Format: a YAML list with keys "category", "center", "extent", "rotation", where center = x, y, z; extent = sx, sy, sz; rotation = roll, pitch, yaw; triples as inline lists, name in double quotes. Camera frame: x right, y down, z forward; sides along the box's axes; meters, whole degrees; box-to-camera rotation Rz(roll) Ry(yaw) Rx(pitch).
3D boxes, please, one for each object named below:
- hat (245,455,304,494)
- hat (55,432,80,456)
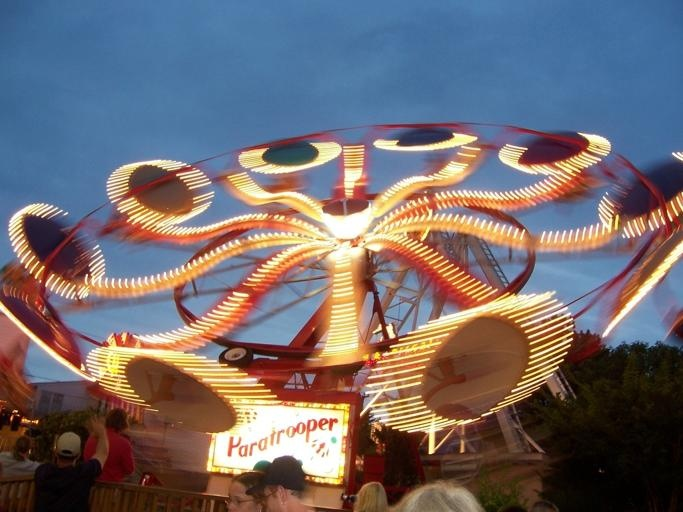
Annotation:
- category: "hat"
  center: [-1.125, 3.186, 9.536]
  extent: [0.829, 0.406, 0.531]
  rotation: [2, -22, 12]
- category: "hat"
  center: [-4.417, 2.972, 10.435]
  extent: [0.346, 0.470, 0.249]
  rotation: [12, -76, -23]
